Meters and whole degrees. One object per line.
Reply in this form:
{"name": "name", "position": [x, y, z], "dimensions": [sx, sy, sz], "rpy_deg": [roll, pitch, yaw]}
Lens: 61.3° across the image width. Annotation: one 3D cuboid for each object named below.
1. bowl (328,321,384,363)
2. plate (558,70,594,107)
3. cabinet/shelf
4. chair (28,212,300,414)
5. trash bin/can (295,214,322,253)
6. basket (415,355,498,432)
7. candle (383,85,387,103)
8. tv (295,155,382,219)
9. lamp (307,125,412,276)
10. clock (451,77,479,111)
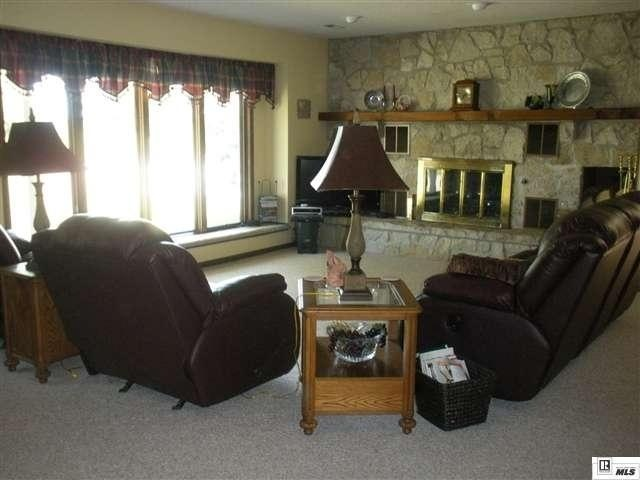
{"name": "bowl", "position": [0.183, 0.696, 3.709], "dimensions": [0.442, 0.220, 0.454], "rpy_deg": [-3, 0, 0]}
{"name": "plate", "position": [2.991, -1.762, 6.348], "dimensions": [0.363, 0.406, 0.143], "rpy_deg": [4, 14, 23]}
{"name": "cabinet/shelf", "position": [0.250, 0.687, 3.760], "dimensions": [0.854, 0.944, 0.979], "rpy_deg": [-1, 12, -2]}
{"name": "chair", "position": [-1.127, 0.460, 3.908], "dimensions": [1.565, 1.281, 1.286], "rpy_deg": [2, 9, 33]}
{"name": "trash bin/can", "position": [-0.137, -0.097, 7.604], "dimensions": [0.532, 0.533, 0.526], "rpy_deg": [2, 0, -9]}
{"name": "basket", "position": [0.851, 0.988, 3.454], "dimensions": [0.351, 0.294, 0.447], "rpy_deg": [-3, 5, -22]}
{"name": "candle", "position": [0.917, -2.055, 7.587], "dimensions": [0.053, 0.232, 0.079], "rpy_deg": [0, 13, 5]}
{"name": "tv", "position": [0.136, -0.518, 5.470], "dimensions": [1.120, 0.780, 0.291], "rpy_deg": [-2, 7, -18]}
{"name": "lamp", "position": [0.249, -0.239, 3.523], "dimensions": [0.769, 0.923, 0.773], "rpy_deg": [2, 3, 33]}
{"name": "clock", "position": [1.869, -1.847, 6.928], "dimensions": [0.306, 0.386, 0.230], "rpy_deg": [8, 18, 29]}
